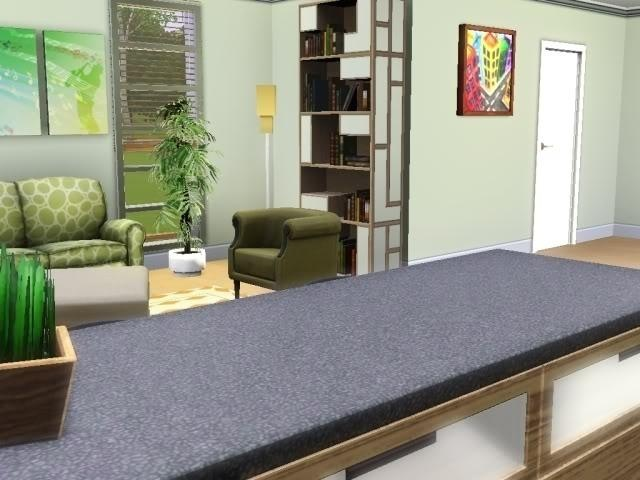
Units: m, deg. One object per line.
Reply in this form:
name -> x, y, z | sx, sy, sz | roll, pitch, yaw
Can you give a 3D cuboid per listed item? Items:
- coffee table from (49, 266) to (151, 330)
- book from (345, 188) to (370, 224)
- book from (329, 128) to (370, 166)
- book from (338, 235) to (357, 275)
coffee table -> -1.384, 0.347, 3.122 | 0.623, 0.262, 0.663 | -5, 10, -35
book -> 0.423, -0.357, 5.469 | 0.306, 0.421, 0.415 | 0, 2, -42
book -> 0.347, -1.069, 5.489 | 0.255, 0.429, 0.473 | 4, 6, 45
book -> 0.329, 0.199, 5.588 | 0.078, 0.354, 0.335 | -1, 6, 13
